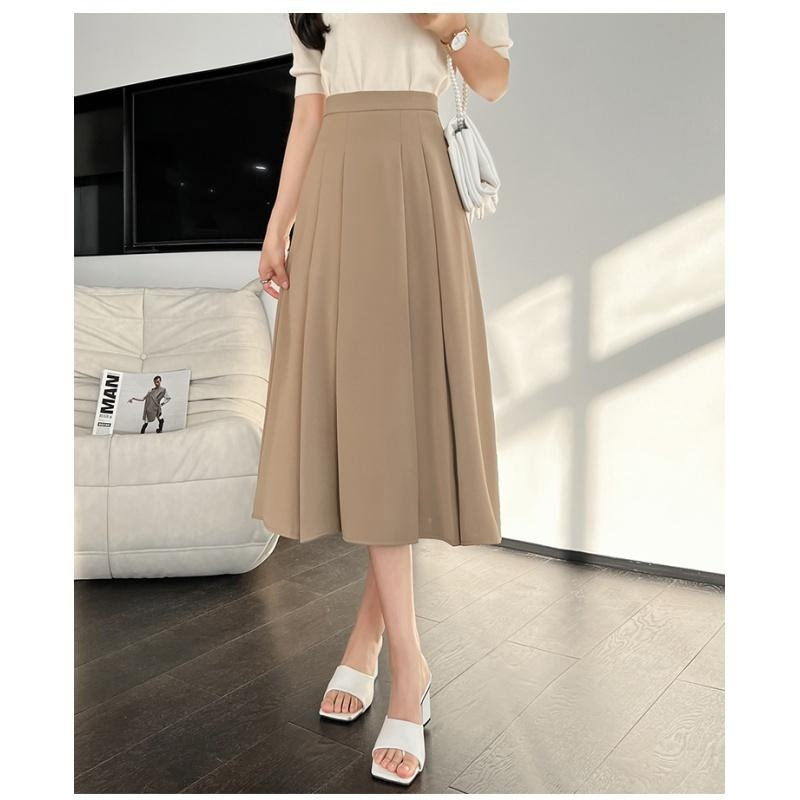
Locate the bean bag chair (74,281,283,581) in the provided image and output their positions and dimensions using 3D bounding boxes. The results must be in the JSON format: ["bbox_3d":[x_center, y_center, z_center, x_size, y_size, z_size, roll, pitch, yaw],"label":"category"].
[{"bbox_3d":[-0.802,0.088,2.239,0.722,1.031,0.982,0,11,-10],"label":"bean bag chair"}]

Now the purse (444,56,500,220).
[{"bbox_3d":[0.131,-0.490,1.211,0.101,0.288,0.146,6,14,15],"label":"purse"}]

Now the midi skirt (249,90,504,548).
[{"bbox_3d":[-0.039,-0.160,1.252,0.458,0.897,0.270,-2,-9,10],"label":"midi skirt"}]

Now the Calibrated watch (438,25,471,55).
[{"bbox_3d":[0.101,-0.630,1.101,0.033,0.055,0.052,-41,33,-7],"label":"Calibrated watch"}]
